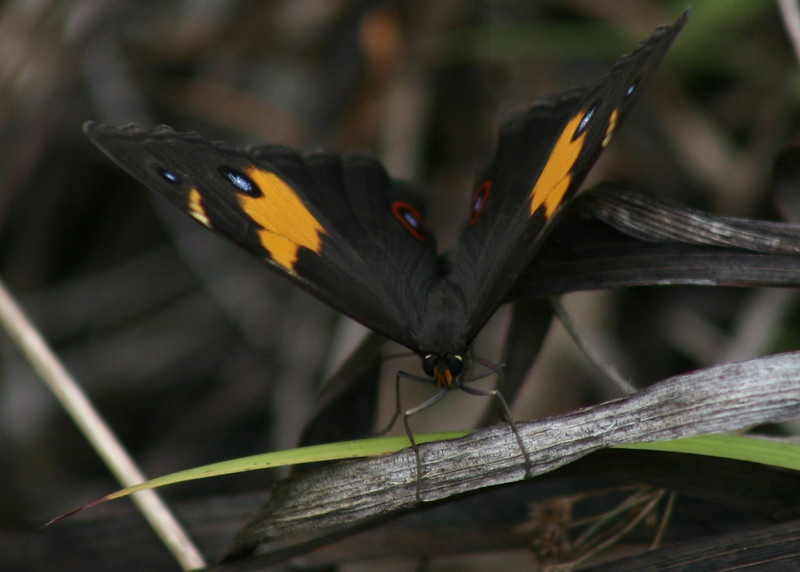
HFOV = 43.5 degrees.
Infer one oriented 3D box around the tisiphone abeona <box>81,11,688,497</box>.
[{"bbox_3d":[0.050,-0.087,1.107,0.640,0.251,0.413,-23,-59,3],"label":"tisiphone abeona"}]
